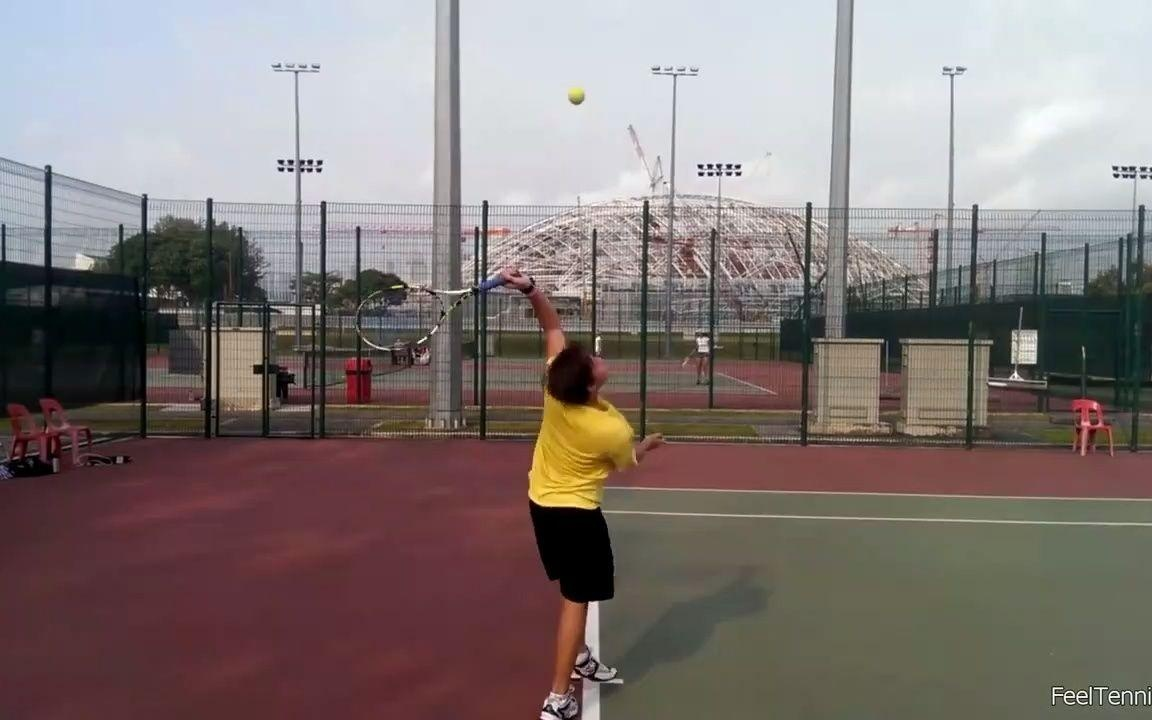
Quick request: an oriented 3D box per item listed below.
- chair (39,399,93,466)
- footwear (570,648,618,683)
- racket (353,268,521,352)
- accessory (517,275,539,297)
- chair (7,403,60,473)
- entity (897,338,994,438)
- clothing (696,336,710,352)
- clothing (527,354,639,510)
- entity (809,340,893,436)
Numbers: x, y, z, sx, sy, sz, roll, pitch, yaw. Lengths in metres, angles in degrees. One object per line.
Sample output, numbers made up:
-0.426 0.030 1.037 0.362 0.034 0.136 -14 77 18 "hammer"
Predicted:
-7.664 1.042 18.016 0.615 0.916 0.501 1 5 8 "chair"
0.177 3.228 12.595 0.622 0.294 0.241 2 -4 0 "footwear"
-2.395 -0.821 19.717 1.421 1.395 2.929 2 -3 -44 "racket"
-0.489 -0.778 12.444 0.166 0.188 0.194 1 -1 -3 "accessory"
-8.225 1.103 18.209 0.691 0.926 2.137 0 2 -26 "chair"
6.311 0.476 20.586 1.435 1.656 0.730 1 2 15 "entity"
2.777 -0.352 26.347 0.442 0.486 0.255 0 -2 3 "clothing"
-0.056 0.868 12.409 0.744 1.568 1.436 -10 14 -43 "clothing"
4.698 0.482 20.799 0.929 1.965 0.893 1 -1 -5 "entity"
